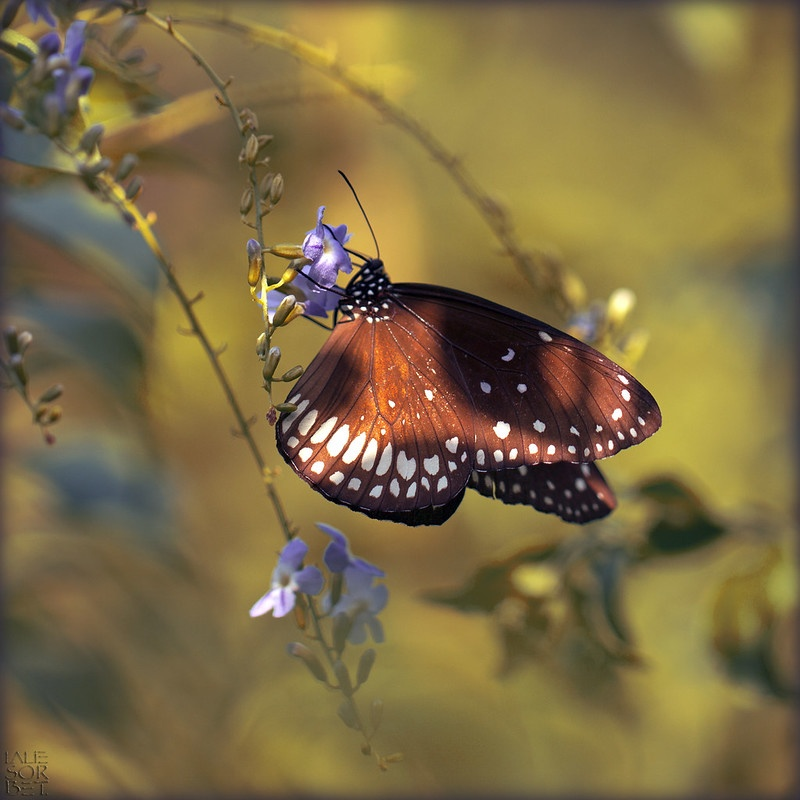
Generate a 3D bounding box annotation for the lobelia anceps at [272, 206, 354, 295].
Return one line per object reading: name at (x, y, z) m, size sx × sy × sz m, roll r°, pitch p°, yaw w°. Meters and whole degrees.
lobelia anceps at (-0.136, -0.240, 1.745) m, size 0.119 × 0.125 × 0.064 m, roll -22°, pitch 10°, yaw -33°

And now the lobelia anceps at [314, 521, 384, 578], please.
lobelia anceps at (-0.089, 0.250, 1.824) m, size 0.102 × 0.107 × 0.073 m, roll -12°, pitch 20°, yaw -23°

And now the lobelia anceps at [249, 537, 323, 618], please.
lobelia anceps at (-0.180, 0.290, 1.732) m, size 0.124 × 0.120 × 0.029 m, roll 14°, pitch -14°, yaw 20°

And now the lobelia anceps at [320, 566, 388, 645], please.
lobelia anceps at (-0.075, 0.349, 1.834) m, size 0.093 × 0.139 × 0.077 m, roll -4°, pitch 15°, yaw -1°

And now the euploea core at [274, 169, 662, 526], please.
euploea core at (0.042, 0.027, 1.995) m, size 0.509 × 0.634 × 0.715 m, roll 18°, pitch 47°, yaw 33°
